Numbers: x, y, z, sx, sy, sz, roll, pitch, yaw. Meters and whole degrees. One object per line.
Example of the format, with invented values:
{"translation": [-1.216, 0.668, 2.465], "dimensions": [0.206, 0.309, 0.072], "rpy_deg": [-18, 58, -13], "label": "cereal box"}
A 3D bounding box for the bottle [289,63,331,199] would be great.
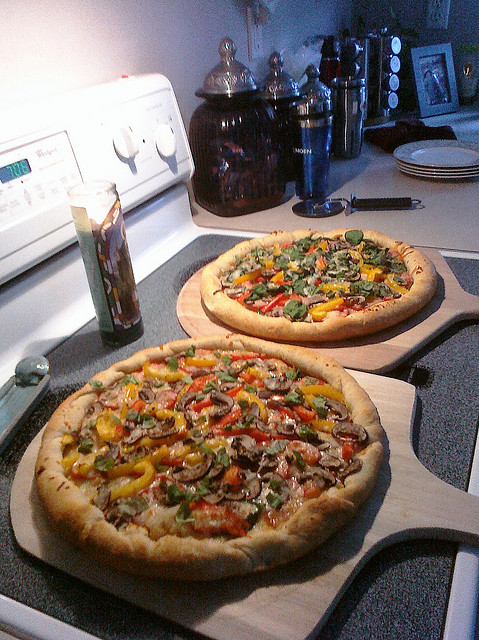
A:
{"translation": [0.280, -0.721, 1.787], "dimensions": [0.149, 0.479, 0.235], "rpy_deg": [-3, 25, 9], "label": "bottle"}

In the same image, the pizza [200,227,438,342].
{"translation": [0.208, -0.180, 1.550], "dimensions": [0.893, 0.304, 0.692], "rpy_deg": [-2, 23, 6], "label": "pizza"}

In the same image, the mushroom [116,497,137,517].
{"translation": [-0.167, 0.280, 0.678], "dimensions": [0.021, 0.007, 0.024], "rpy_deg": [13, 26, -2], "label": "mushroom"}

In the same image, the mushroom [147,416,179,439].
{"translation": [-0.137, 0.193, 0.815], "dimensions": [0.036, 0.011, 0.038], "rpy_deg": [-8, 26, 3], "label": "mushroom"}

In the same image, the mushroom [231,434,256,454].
{"translation": [0.006, 0.212, 0.787], "dimensions": [0.024, 0.008, 0.027], "rpy_deg": [-13, 36, -17], "label": "mushroom"}

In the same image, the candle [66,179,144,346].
{"translation": [-0.310, -0.126, 1.081], "dimensions": [0.114, 0.379, 0.114], "rpy_deg": [-26, 38, -33], "label": "candle"}

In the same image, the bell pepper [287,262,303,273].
{"translation": [0.167, -0.157, 1.376], "dimensions": [0.020, 0.018, 0.077], "rpy_deg": [-10, 33, -14], "label": "bell pepper"}

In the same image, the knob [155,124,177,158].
{"translation": [-0.230, -0.579, 1.473], "dimensions": [0.040, 0.097, 0.110], "rpy_deg": [5, 29, 24], "label": "knob"}

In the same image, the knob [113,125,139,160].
{"translation": [-0.323, -0.496, 1.299], "dimensions": [0.020, 0.088, 0.063], "rpy_deg": [2, 35, 37], "label": "knob"}

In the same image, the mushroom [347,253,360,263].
{"translation": [0.341, -0.185, 1.381], "dimensions": [0.031, 0.009, 0.032], "rpy_deg": [-18, 71, -50], "label": "mushroom"}

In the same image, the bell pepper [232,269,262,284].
{"translation": [0.025, -0.125, 1.358], "dimensions": [0.080, 0.019, 0.022], "rpy_deg": [-20, -12, -26], "label": "bell pepper"}

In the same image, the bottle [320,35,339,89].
{"translation": [0.505, -1.445, 2.525], "dimensions": [0.093, 0.102, 0.324], "rpy_deg": [-13, -15, 5], "label": "bottle"}

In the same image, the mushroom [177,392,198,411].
{"translation": [-0.106, 0.161, 0.896], "dimensions": [0.028, 0.009, 0.029], "rpy_deg": [-21, 40, -24], "label": "mushroom"}

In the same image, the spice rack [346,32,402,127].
{"translation": [0.896, -1.580, 2.956], "dimensions": [0.238, 0.490, 0.252], "rpy_deg": [10, 28, 33], "label": "spice rack"}

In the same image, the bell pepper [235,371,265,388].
{"translation": [0.020, 0.127, 0.970], "dimensions": [0.072, 0.018, 0.024], "rpy_deg": [33, 40, 30], "label": "bell pepper"}

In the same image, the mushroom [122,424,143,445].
{"translation": [-0.186, 0.204, 0.811], "dimensions": [0.017, 0.008, 0.033], "rpy_deg": [12, 27, 8], "label": "mushroom"}

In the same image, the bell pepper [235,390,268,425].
{"translation": [0.029, 0.169, 0.878], "dimensions": [0.033, 0.019, 0.063], "rpy_deg": [-29, 64, -17], "label": "bell pepper"}

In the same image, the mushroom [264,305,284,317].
{"translation": [0.094, -0.018, 1.184], "dimensions": [0.029, 0.010, 0.029], "rpy_deg": [-24, 48, -26], "label": "mushroom"}

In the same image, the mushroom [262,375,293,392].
{"translation": [0.077, 0.131, 0.935], "dimensions": [0.037, 0.011, 0.031], "rpy_deg": [-4, 31, 9], "label": "mushroom"}

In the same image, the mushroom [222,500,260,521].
{"translation": [0.007, 0.285, 0.688], "dimensions": [0.030, 0.009, 0.032], "rpy_deg": [0, 7, -14], "label": "mushroom"}

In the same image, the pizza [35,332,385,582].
{"translation": [-0.035, 0.204, 0.874], "dimensions": [0.645, 0.096, 0.624], "rpy_deg": [-14, 28, -26], "label": "pizza"}

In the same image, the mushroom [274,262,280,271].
{"translation": [0.112, -0.159, 1.378], "dimensions": [0.015, 0.005, 0.022], "rpy_deg": [5, 55, 13], "label": "mushroom"}

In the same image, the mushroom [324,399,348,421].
{"translation": [0.186, 0.169, 0.860], "dimensions": [0.032, 0.009, 0.031], "rpy_deg": [-8, 40, -34], "label": "mushroom"}

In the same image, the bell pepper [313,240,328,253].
{"translation": [0.260, -0.240, 1.467], "dimensions": [0.020, 0.023, 0.081], "rpy_deg": [27, 40, 13], "label": "bell pepper"}

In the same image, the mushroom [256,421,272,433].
{"translation": [0.045, 0.194, 0.820], "dimensions": [0.017, 0.006, 0.018], "rpy_deg": [-1, 30, -9], "label": "mushroom"}

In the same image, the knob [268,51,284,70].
{"translation": [0.160, -1.153, 2.037], "dimensions": [0.048, 0.068, 0.105], "rpy_deg": [-1, 27, 15], "label": "knob"}

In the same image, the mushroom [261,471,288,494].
{"translation": [0.056, 0.259, 0.728], "dimensions": [0.026, 0.008, 0.027], "rpy_deg": [33, -3, 3], "label": "mushroom"}

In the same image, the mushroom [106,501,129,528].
{"translation": [-0.190, 0.290, 0.678], "dimensions": [0.024, 0.007, 0.029], "rpy_deg": [-4, 48, -1], "label": "mushroom"}

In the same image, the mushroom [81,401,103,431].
{"translation": [-0.281, 0.185, 0.871], "dimensions": [0.028, 0.011, 0.040], "rpy_deg": [-8, 45, 28], "label": "mushroom"}

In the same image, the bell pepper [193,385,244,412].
{"translation": [-0.046, 0.150, 0.909], "dimensions": [0.079, 0.021, 0.046], "rpy_deg": [-28, -1, 2], "label": "bell pepper"}
